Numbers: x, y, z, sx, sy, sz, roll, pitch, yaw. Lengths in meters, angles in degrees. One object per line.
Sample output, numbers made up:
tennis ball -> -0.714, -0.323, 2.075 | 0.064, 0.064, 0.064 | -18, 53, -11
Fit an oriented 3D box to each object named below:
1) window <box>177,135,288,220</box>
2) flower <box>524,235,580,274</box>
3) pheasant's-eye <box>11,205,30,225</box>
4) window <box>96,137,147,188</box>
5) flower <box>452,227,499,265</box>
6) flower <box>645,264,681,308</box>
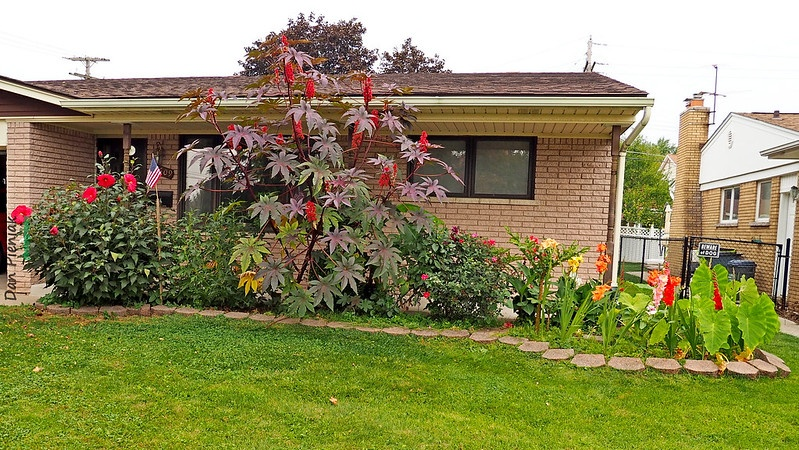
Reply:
window -> -3.961, -1.140, 14.901 | 2.603, 2.691, 0.132 | 0, 2, 7
flower -> 3.345, 0.675, 13.688 | 1.111, 0.749, 0.510 | 3, -2, 8
pheasant's-eye -> -8.762, -0.248, 14.310 | 0.376, 0.459, 0.395 | 4, -2, -30
window -> -7.223, -1.638, 16.061 | 1.771, 1.575, 0.078 | 0, 0, 3
flower -> 1.625, 0.440, 14.535 | 0.999, 0.552, 1.128 | 14, 17, 22
flower -> 5.846, 1.361, 13.725 | 0.614, 0.571, 0.740 | 19, -17, 7
